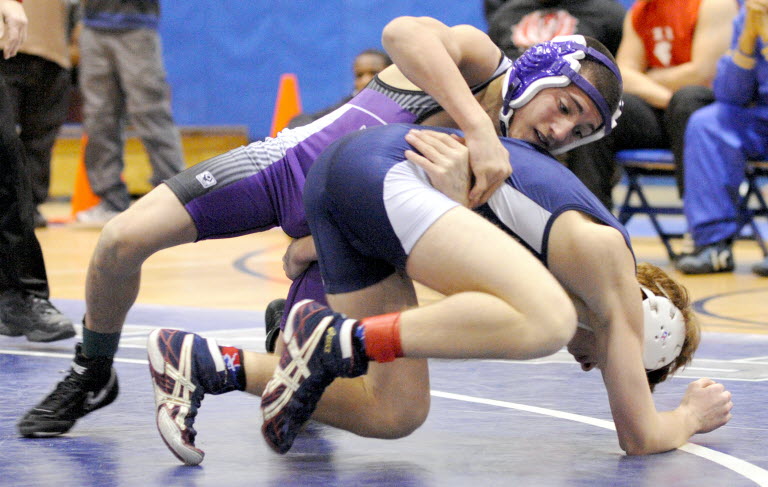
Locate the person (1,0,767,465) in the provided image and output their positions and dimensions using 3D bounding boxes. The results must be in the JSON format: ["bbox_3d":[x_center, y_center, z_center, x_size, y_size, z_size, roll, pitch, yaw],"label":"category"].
[{"bbox_3d":[0.182,-0.086,2.886,2.352,1.468,1.032,7,8,-10],"label":"person"}]

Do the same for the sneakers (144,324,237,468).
[{"bbox_3d":[-0.515,0.414,2.283,0.263,0.327,0.210,-1,9,-11],"label":"sneakers"}]

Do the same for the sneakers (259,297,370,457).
[{"bbox_3d":[-0.202,0.322,2.238,0.187,0.487,0.211,25,3,-30],"label":"sneakers"}]
